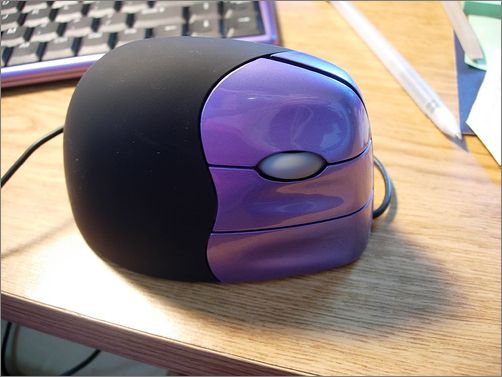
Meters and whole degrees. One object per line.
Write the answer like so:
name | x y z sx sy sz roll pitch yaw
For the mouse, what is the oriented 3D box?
mouse | -0.027 -0.037 0.437 0.283 0.176 0.184 0 30 2
